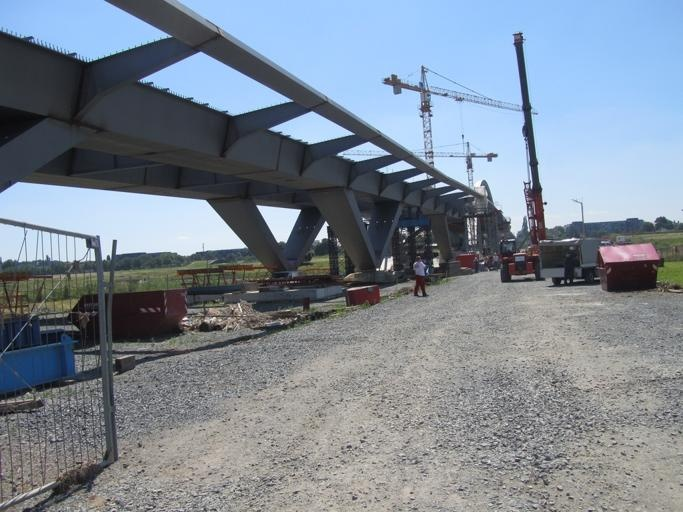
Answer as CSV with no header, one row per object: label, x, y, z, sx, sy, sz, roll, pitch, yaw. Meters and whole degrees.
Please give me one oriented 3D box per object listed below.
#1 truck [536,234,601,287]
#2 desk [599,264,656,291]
truck,13.274,0.245,27.422,4.187,2.235,2.134,-5,5,-44
desk,12.292,0.869,19.957,1.553,0.945,1.473,-4,-3,21
